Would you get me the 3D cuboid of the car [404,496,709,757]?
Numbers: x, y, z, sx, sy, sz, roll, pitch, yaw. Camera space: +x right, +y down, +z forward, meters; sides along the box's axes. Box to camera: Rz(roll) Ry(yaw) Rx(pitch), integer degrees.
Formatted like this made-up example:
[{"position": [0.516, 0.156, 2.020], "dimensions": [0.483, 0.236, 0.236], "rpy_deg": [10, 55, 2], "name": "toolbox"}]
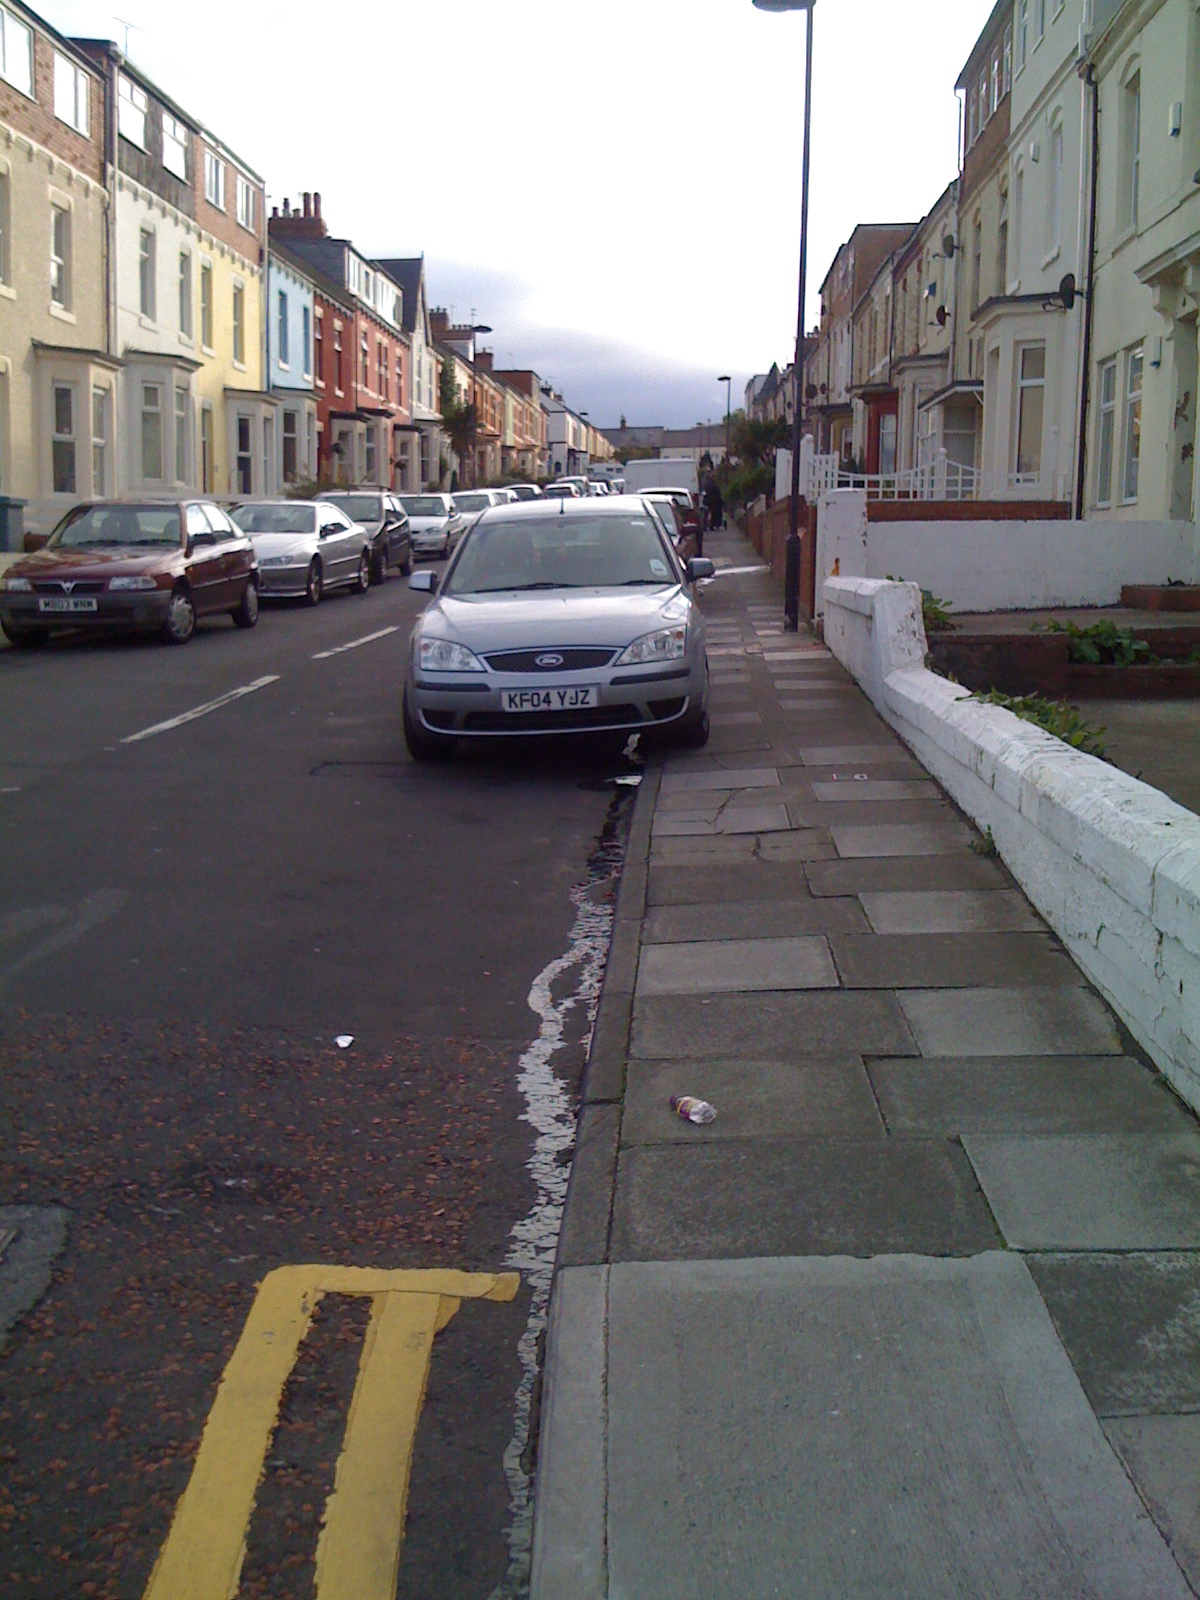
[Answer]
[{"position": [-0.303, -1.195, 9.165], "dimensions": [2.080, 1.776, 2.055], "rpy_deg": [-3, 5, 2], "name": "car"}]
